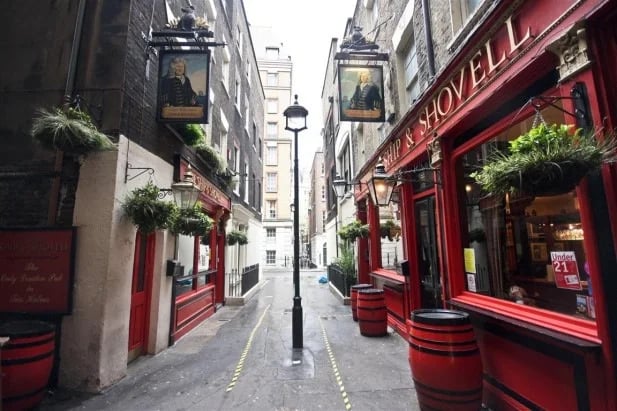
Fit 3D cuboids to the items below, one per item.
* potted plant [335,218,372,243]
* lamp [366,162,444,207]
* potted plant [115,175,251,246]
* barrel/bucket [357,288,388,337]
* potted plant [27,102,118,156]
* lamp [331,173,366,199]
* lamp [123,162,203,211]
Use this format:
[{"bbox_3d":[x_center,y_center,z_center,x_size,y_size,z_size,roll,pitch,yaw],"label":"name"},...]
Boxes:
[{"bbox_3d":[1.411,0.788,12.138,0.770,0.609,0.979,-1,-2,-21],"label":"potted plant"},{"bbox_3d":[2.147,-0.492,8.685,1.772,1.019,0.516,-1,0,-13],"label":"lamp"},{"bbox_3d":[-2.900,0.129,8.466,0.946,0.921,1.562,-1,-13,26],"label":"potted plant"},{"bbox_3d":[1.423,2.615,10.010,0.893,1.415,0.955,-1,-3,0],"label":"barrel/bucket"},{"bbox_3d":[-4.439,-1.632,7.419,1.111,0.632,1.150,28,2,24],"label":"potted plant"},{"bbox_3d":[1.292,-0.635,11.858,1.186,0.908,0.724,2,-3,-12],"label":"lamp"},{"bbox_3d":[-2.950,-0.280,8.398,1.432,1.054,0.687,0,0,2],"label":"lamp"}]
